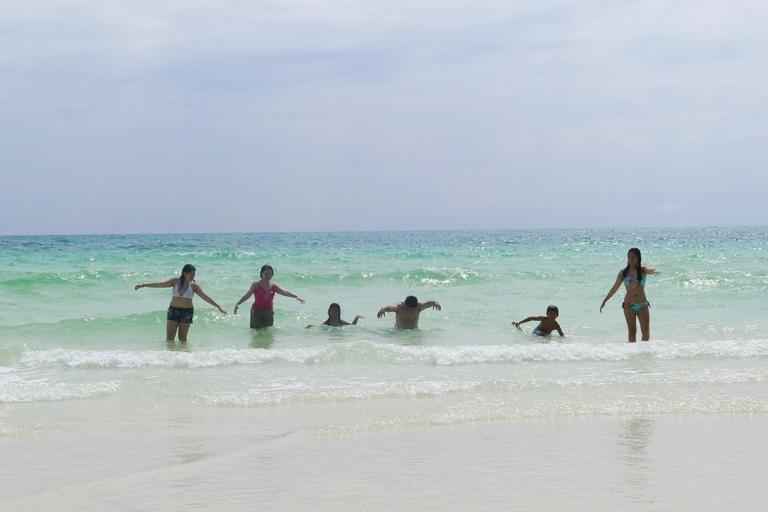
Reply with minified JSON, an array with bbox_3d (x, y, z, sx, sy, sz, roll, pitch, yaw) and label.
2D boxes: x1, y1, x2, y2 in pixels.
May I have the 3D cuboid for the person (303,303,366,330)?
[{"bbox_3d":[-1.358,1.618,25.984,1.038,0.821,0.250,0,-44,-4],"label":"person"}]

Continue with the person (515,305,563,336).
[{"bbox_3d":[3.842,1.495,22.871,0.857,0.739,0.782,5,8,36],"label":"person"}]

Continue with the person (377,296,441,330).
[{"bbox_3d":[0.646,1.490,25.090,1.213,0.468,1.453,-3,-23,0],"label":"person"}]
